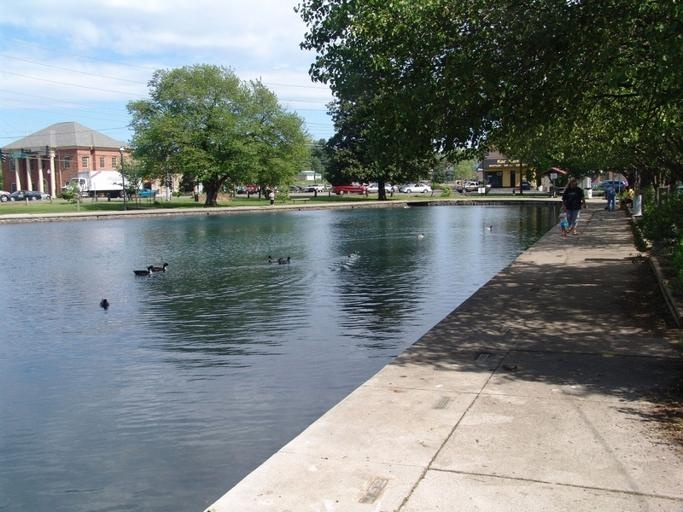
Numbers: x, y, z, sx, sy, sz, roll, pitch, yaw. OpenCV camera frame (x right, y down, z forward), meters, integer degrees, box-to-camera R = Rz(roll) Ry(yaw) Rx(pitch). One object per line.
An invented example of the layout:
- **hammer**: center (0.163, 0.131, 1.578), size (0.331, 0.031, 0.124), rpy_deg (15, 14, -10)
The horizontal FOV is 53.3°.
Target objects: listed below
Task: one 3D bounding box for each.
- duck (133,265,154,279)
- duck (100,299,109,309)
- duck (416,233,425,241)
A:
- **duck**: center (-6.311, 0.488, 21.707), size (0.629, 0.257, 0.591), rpy_deg (-3, 8, -10)
- **duck**: center (-5.734, 1.175, 16.553), size (0.243, 0.257, 0.116), rpy_deg (-7, -37, 24)
- **duck**: center (3.865, -0.918, 33.222), size (0.346, 0.384, 0.287), rpy_deg (10, -28, 11)
